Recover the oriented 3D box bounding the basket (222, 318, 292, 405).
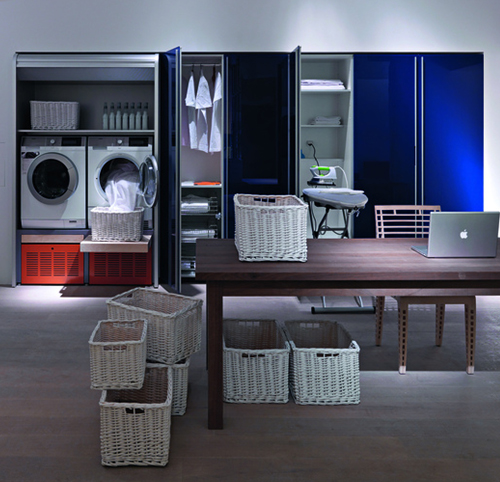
[{"bbox_3d":[0.041,0.616,2.975,0.244,0.235,0.415,0,0,0],"label":"basket"}]

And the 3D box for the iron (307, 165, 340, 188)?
[{"bbox_3d":[0.659,-0.588,5.234,0.233,0.195,0.686,1,8,5],"label":"iron"}]

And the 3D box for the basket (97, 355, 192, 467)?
[{"bbox_3d":[-0.446,0.731,2.424,0.221,0.224,0.460,0,2,-1],"label":"basket"}]

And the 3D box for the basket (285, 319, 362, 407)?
[{"bbox_3d":[0.372,0.617,2.954,0.237,0.234,0.487,0,0,0],"label":"basket"}]

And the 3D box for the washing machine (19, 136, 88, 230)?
[{"bbox_3d":[-1.839,-0.550,5.731,0.718,1.179,0.761,1,-1,-5],"label":"washing machine"}]

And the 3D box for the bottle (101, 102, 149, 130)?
[{"bbox_3d":[-1.225,-1.234,5.659,0.308,0.220,0.063,-1,-1,-6],"label":"bottle"}]

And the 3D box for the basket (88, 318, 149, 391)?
[{"bbox_3d":[-0.564,0.504,2.556,0.215,0.205,0.387,1,3,-3],"label":"basket"}]

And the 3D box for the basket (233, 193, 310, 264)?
[{"bbox_3d":[0.095,-0.068,2.860,0.258,0.219,0.453,0,4,-2],"label":"basket"}]

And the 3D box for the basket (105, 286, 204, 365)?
[{"bbox_3d":[-0.487,0.378,2.891,0.461,0.312,0.329,10,11,28],"label":"basket"}]

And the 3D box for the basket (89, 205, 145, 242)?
[{"bbox_3d":[-1.195,-0.137,5.182,0.449,0.278,0.087,0,7,0],"label":"basket"}]
